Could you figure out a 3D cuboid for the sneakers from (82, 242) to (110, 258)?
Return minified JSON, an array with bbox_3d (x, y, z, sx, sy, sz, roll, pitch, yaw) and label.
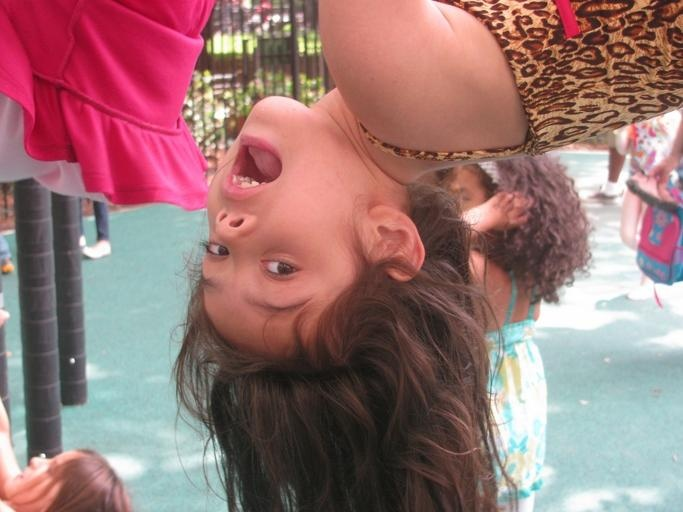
[{"bbox_3d":[-1.696,-0.043,5.522,0.068,0.110,0.223,5,4,21],"label":"sneakers"}]
